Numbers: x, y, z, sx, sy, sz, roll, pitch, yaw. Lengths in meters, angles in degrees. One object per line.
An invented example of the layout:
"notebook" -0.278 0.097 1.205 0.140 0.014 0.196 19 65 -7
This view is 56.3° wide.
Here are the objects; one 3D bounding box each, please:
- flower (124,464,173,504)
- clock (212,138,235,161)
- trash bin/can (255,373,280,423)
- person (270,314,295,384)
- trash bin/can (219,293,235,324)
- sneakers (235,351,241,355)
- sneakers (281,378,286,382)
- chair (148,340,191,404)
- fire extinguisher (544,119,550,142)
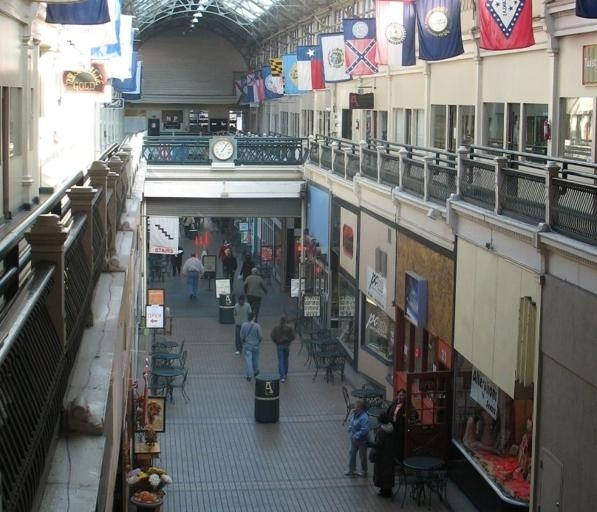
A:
"flower" -2.275 3.466 8.569 0.489 0.476 0.572 1 -4 -2
"clock" -3.383 -4.775 25.596 0.780 1.168 0.965 -1 4 -1
"trash bin/can" -0.822 3.750 14.819 0.837 1.205 0.945 -1 9 -20
"person" -0.497 2.888 17.334 0.664 2.236 1.115 -1 5 -8
"trash bin/can" -3.049 2.222 23.767 0.855 1.780 0.972 0 4 -3
"sneakers" -2.166 3.499 20.051 0.190 0.110 0.080 2 6 11
"sneakers" -0.457 3.921 17.529 0.121 0.054 0.103 0 11 4
"chair" -3.846 3.518 16.628 0.572 0.678 1.793 2 20 -4
"fire extinguisher" 4.866 -2.432 10.888 0.110 0.407 0.294 2 6 18
